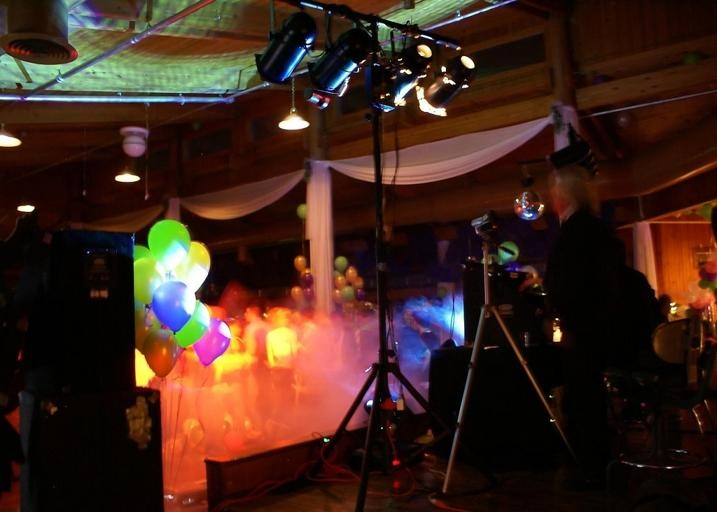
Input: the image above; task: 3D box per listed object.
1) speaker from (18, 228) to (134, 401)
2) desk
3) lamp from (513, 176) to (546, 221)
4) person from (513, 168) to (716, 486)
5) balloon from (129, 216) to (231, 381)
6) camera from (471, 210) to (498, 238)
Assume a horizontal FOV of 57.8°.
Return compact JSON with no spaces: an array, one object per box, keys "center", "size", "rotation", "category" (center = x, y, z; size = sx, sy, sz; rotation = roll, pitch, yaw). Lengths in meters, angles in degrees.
[{"center":[-2.082,0.331,4.993],"size":[0.694,0.906,0.655],"rotation":[0,7,-12],"category":"speaker"},{"center":[1.329,1.314,6.265],"size":[1.199,1.035,1.179],"rotation":[-1,-2,-7],"category":"desk"},{"center":[1.846,-0.597,6.985],"size":[0.328,0.447,0.331],"rotation":[1,2,31],"category":"lamp"},{"center":[1.700,0.427,4.952],"size":[0.507,2.219,0.453],"rotation":[-4,-4,-9],"category":"person"},{"center":[-1.602,0.378,5.671],"size":[0.572,1.399,0.987],"rotation":[-4,-4,-7],"category":"balloon"},{"center":[1.075,-0.253,5.435],"size":[0.177,0.258,0.333],"rotation":[-5,-5,5],"category":"camera"}]
